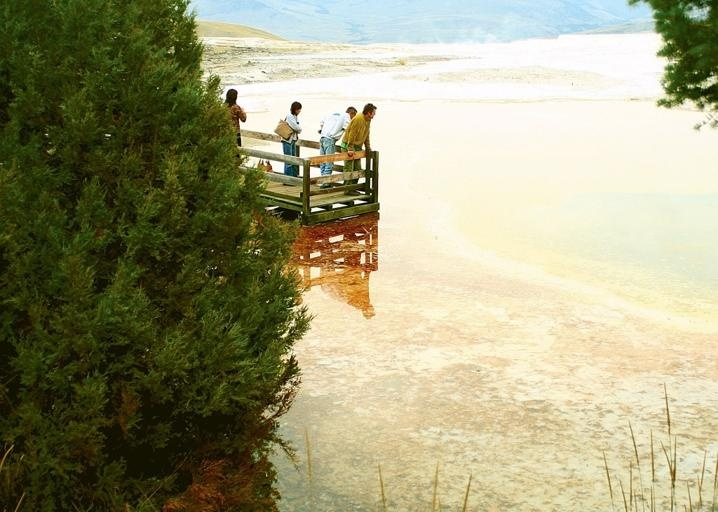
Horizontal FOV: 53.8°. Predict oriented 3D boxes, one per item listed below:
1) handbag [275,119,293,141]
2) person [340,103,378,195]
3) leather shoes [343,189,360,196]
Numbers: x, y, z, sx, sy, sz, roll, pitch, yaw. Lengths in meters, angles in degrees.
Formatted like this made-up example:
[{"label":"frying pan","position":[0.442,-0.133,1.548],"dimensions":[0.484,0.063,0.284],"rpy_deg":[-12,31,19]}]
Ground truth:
[{"label":"handbag","position":[-1.883,-3.216,18.054],"dimensions":[0.518,0.497,0.212],"rpy_deg":[42,29,24]},{"label":"person","position":[0.003,-2.859,17.118],"dimensions":[0.691,1.670,0.954],"rpy_deg":[-2,18,-9]},{"label":"leather shoes","position":[-0.173,-1.577,17.595],"dimensions":[0.334,0.131,0.296],"rpy_deg":[-8,0,0]}]
